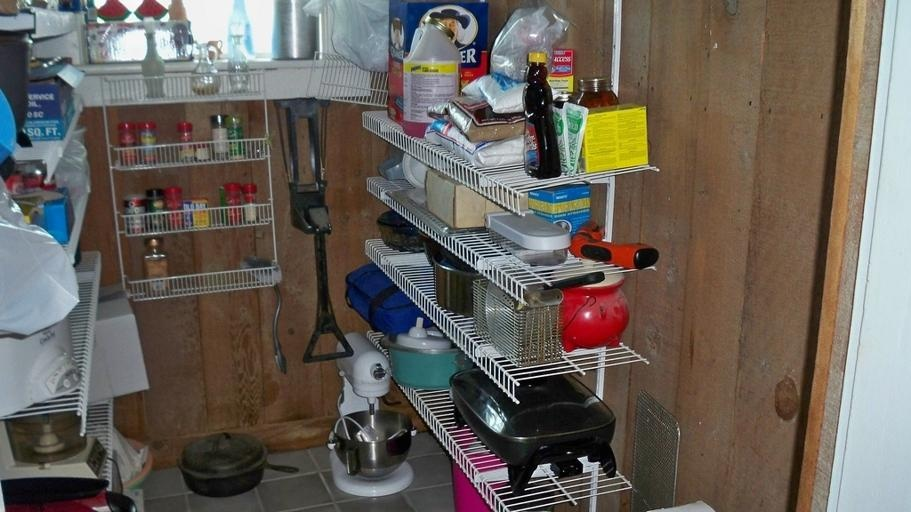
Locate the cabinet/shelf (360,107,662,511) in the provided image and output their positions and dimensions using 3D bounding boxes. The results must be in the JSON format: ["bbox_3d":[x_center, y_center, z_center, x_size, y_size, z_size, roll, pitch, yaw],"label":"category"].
[{"bbox_3d":[0.197,0.147,2.238,0.541,0.911,1.435,-3,25,-23],"label":"cabinet/shelf"}]

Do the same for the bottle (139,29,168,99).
[{"bbox_3d":[-1.226,-0.769,2.875,0.089,0.275,0.158,-12,17,-20],"label":"bottle"}]

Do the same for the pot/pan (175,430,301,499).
[{"bbox_3d":[-0.946,0.870,3.017,0.393,0.140,0.230,6,14,-1],"label":"pot/pan"}]

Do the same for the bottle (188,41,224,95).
[{"bbox_3d":[-1.031,-0.782,2.990,0.120,0.211,0.303,-7,16,-5],"label":"bottle"}]

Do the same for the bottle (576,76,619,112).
[{"bbox_3d":[0.389,-0.449,1.973,0.111,0.094,0.104,-3,18,-3],"label":"bottle"}]

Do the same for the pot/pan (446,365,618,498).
[{"bbox_3d":[0.232,0.470,2.151,0.337,0.250,0.421,-8,24,-22],"label":"pot/pan"}]

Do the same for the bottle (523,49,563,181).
[{"bbox_3d":[0.235,-0.386,1.972,0.098,0.339,0.109,-4,16,5],"label":"bottle"}]
